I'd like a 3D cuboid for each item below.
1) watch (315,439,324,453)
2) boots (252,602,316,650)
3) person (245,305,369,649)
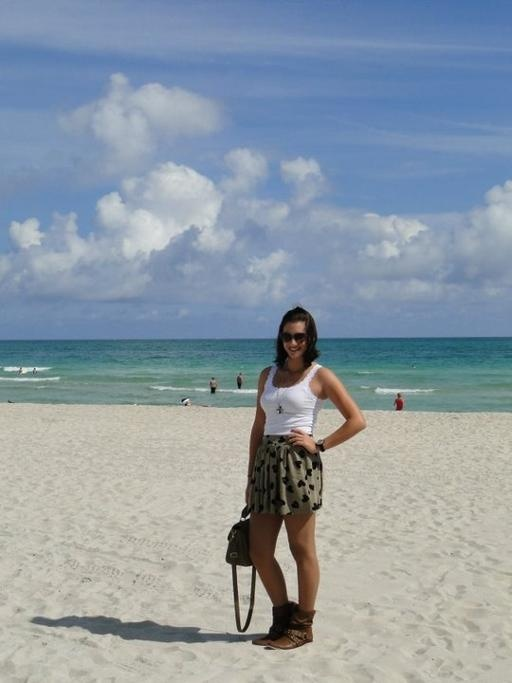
[{"bbox_3d":[0.389,0.628,4.656,0.057,0.074,0.070,0,-33,4],"label":"watch"},{"bbox_3d":[0.227,1.847,4.988,0.400,0.237,0.243,7,-14,-28],"label":"boots"},{"bbox_3d":[0.294,0.883,4.843,0.676,2.226,0.471,-1,1,-1],"label":"person"}]
